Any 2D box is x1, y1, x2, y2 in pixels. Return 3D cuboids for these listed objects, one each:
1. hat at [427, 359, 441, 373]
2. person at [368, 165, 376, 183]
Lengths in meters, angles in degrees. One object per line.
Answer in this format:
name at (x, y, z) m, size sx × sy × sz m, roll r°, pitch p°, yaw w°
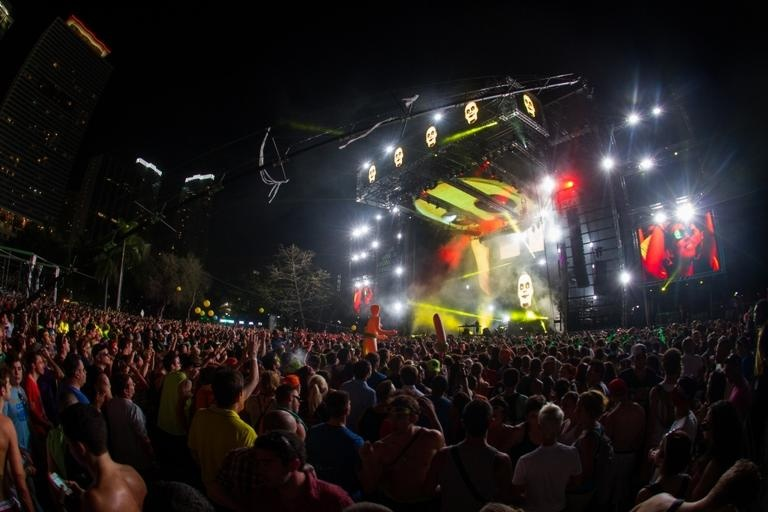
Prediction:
hat at (1.027, 2.427, 9.874) m, size 0.299 × 0.246 × 0.214 m, roll 10°, pitch -3°, yaw 39°
person at (-0.779, -5.959, 32.955) m, size 0.297 × 1.396 × 1.203 m, roll 7°, pitch -14°, yaw -20°
